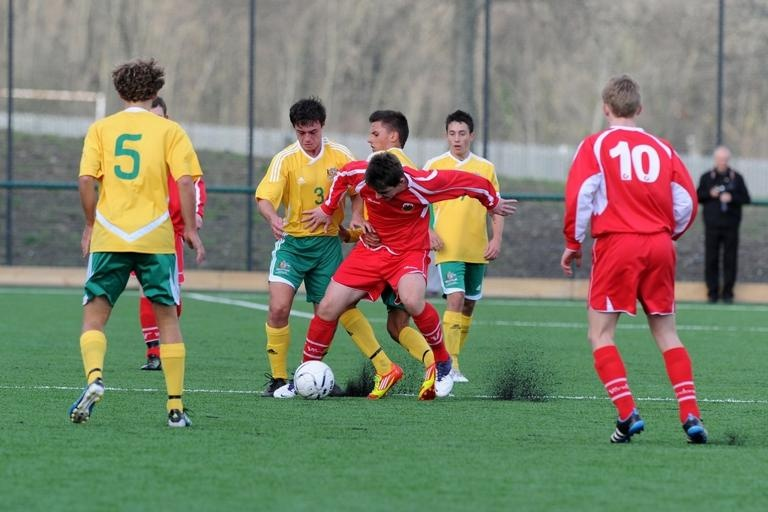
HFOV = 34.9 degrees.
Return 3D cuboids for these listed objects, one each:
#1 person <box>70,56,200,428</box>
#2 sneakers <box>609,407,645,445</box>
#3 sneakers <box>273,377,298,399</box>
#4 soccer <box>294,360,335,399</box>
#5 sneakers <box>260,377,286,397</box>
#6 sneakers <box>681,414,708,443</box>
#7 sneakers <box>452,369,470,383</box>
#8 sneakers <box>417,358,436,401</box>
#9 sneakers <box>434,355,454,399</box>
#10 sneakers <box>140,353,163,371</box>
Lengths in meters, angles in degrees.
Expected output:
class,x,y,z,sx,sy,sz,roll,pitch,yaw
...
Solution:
class,x,y,z,sx,sy,sz,roll,pitch,yaw
person,-2.390,-0.133,11.775,1.227,3.444,1.101,-2,13,-10
sneakers,2.313,1.663,11.687,0.178,0.268,0.476,-27,-13,-34
sneakers,-1.016,1.381,12.690,0.327,0.149,0.123,1,-1,28
soccer,-0.694,1.281,12.683,0.373,0.392,0.384,11,-21,10
sneakers,-1.148,1.370,12.868,0.114,0.154,0.339,-5,-2,37
sneakers,2.952,1.636,11.608,0.182,0.122,0.300,-3,41,-20
sneakers,0.849,1.327,13.433,0.223,0.108,0.080,2,2,37
sneakers,0.453,1.291,12.676,0.171,0.349,0.286,1,14,2
sneakers,0.636,1.285,12.821,0.148,0.183,0.429,-5,27,12
sneakers,-2.589,1.171,13.576,0.153,0.157,0.341,0,-7,1
